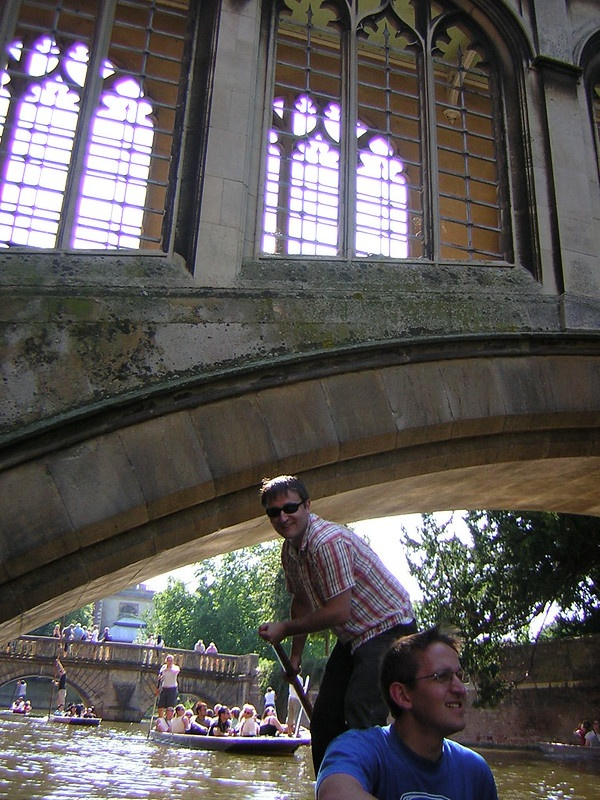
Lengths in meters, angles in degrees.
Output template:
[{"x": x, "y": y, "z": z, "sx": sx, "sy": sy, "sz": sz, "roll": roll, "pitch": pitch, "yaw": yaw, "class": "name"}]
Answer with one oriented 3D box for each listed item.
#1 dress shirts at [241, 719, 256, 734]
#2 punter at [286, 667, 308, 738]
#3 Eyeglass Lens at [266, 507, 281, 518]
[{"x": -1.113, "y": 7.136, "z": 15.465, "sx": 0.318, "sy": 0.408, "sz": 0.233, "roll": 3, "pitch": -20, "yaw": -2, "class": "dress shirts"}, {"x": -0.137, "y": 6.055, "z": 14.358, "sx": 0.380, "sy": 1.433, "sz": 0.418, "roll": -4, "pitch": -25, "yaw": 27, "class": "punter"}, {"x": -0.086, "y": 0.399, "z": 2.491, "sx": 0.044, "sy": 0.018, "sz": 0.044, "roll": -1, "pitch": -17, "yaw": 28, "class": "Eyeglass Lens"}]
